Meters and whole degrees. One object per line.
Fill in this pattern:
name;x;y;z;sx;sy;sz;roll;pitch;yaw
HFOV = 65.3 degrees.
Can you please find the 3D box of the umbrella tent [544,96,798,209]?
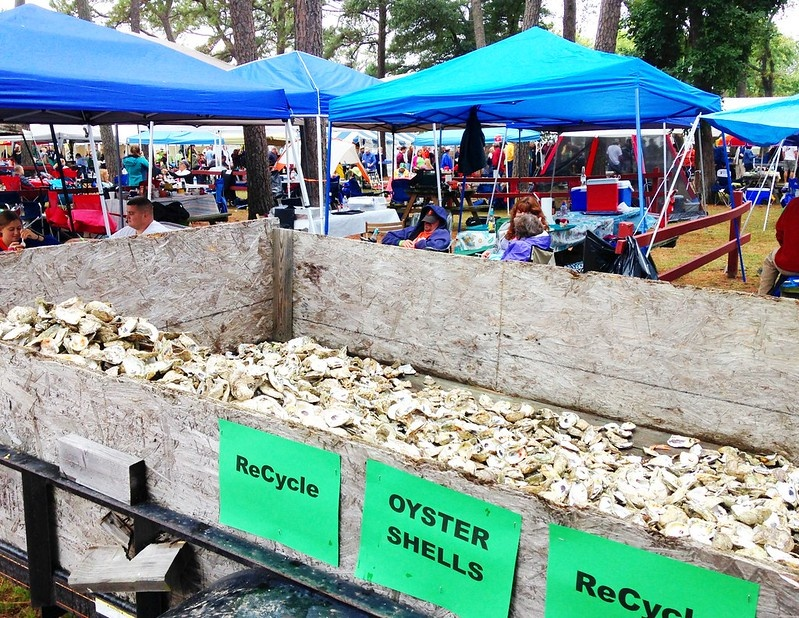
umbrella tent;5.135;-3.601;15.445;4.474;1.889;4.398;-11;14;-43
